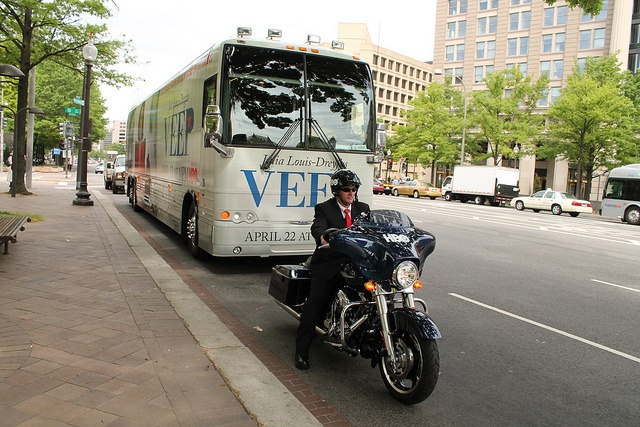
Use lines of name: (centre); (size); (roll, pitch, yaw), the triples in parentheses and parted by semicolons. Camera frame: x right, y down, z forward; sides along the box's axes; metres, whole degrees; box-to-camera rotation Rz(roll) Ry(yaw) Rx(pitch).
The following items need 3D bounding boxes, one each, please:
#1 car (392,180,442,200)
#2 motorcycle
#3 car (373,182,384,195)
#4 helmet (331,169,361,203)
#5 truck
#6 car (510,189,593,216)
car: (10.144, -2.444, 45.001); (2.130, 1.340, 4.283); (-2, 9, -38)
motorcycle: (0.645, 0.941, 4.573); (1.348, 1.921, 0.537); (8, 9, 26)
car: (6.525, -2.854, 49.001); (1.828, 0.891, 2.999); (0, -4, 10)
helmet: (0.300, -0.345, 5.160); (0.425, 0.407, 0.343); (6, 13, 36)
truck: (14.573, -2.632, 40.725); (3.412, 2.994, 6.238); (2, 4, -35)
car: (17.482, -0.879, 32.848); (1.503, 1.767, 4.922); (-4, 11, -44)
